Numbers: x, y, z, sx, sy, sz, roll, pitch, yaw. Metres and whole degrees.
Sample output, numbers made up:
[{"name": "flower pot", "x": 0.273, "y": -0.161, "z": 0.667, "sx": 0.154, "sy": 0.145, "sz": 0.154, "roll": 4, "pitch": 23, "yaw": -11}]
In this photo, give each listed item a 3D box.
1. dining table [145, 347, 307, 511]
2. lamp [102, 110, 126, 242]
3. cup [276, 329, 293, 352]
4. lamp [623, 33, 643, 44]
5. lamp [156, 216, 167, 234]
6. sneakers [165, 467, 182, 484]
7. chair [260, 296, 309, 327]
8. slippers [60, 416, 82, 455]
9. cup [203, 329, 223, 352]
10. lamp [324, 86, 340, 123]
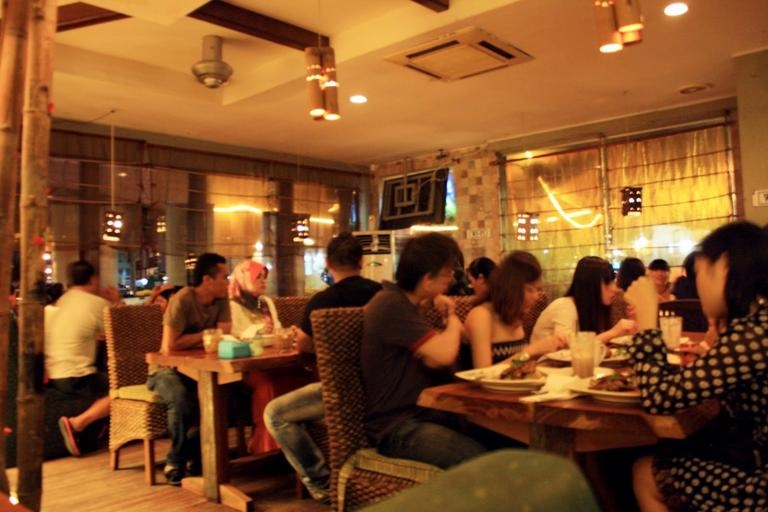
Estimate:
[{"name": "dining table", "x": -0.960, "y": 1.081, "z": 4.113, "sx": 0.976, "sy": 0.858, "sz": 1.000, "roll": -2, "pitch": -3, "yaw": 27}, {"name": "lamp", "x": -3.028, "y": -0.816, "z": 6.991, "sx": 0.152, "sy": 1.335, "sz": 0.290, "roll": -3, "pitch": 1, "yaw": 12}, {"name": "cup", "x": -0.620, "y": 0.525, "z": 3.895, "sx": 0.136, "sy": 0.125, "sz": 0.122, "roll": 0, "pitch": -4, "yaw": 1}, {"name": "lamp", "x": 1.472, "y": -1.295, "z": 3.729, "sx": 0.090, "sy": 0.052, "sz": 0.138, "roll": -2, "pitch": 1, "yaw": 27}, {"name": "lamp", "x": -2.604, "y": -0.366, "z": 7.321, "sx": 0.043, "sy": 0.197, "sz": 0.125, "roll": -2, "pitch": 1, "yaw": 37}, {"name": "sneakers", "x": -1.381, "y": 1.448, "z": 4.120, "sx": 0.064, "sy": 0.064, "sz": 0.168, "roll": 6, "pitch": -5, "yaw": -37}, {"name": "chair", "x": -0.756, "y": 0.416, "z": 4.801, "sx": 0.276, "sy": 0.178, "sz": 0.269, "roll": 0, "pitch": 0, "yaw": 26}, {"name": "slippers", "x": -2.332, "y": 1.353, "z": 4.726, "sx": 0.136, "sy": 0.305, "sz": 0.120, "roll": -19, "pitch": 4, "yaw": -24}, {"name": "cup", "x": -1.092, "y": 0.531, "z": 3.945, "sx": 0.161, "sy": 0.148, "sz": 0.122, "roll": 9, "pitch": -11, "yaw": -39}, {"name": "lamp", "x": -0.393, "y": -1.126, "z": 4.579, "sx": 0.105, "sy": 0.215, "sz": 0.292, "roll": -3, "pitch": 1, "yaw": -5}]
